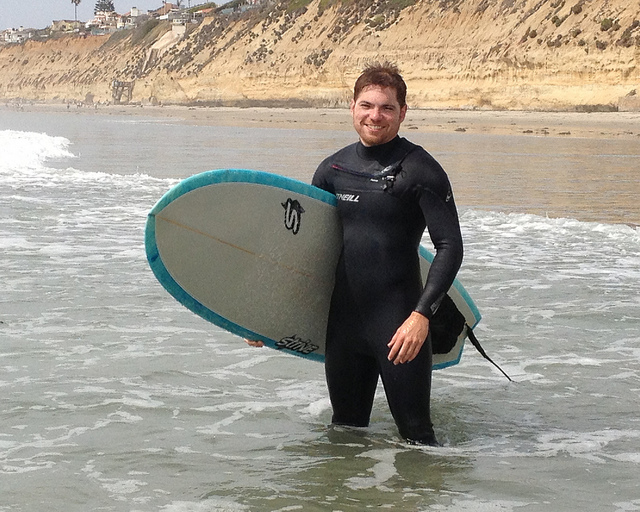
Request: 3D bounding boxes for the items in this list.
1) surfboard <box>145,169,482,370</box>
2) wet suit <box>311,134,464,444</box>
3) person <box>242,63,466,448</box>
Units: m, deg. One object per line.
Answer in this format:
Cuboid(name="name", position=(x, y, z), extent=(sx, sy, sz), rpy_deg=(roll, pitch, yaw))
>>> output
Cuboid(name="surfboard", position=(-0.475, -0.029, 7.521), extent=(0.343, 1.126, 3.103), rpy_deg=(28, -2, -28))
Cuboid(name="wet suit", position=(0.405, 0.242, 7.312), extent=(0.635, 2.046, 0.934), rpy_deg=(-13, 20, -38))
Cuboid(name="person", position=(0.425, 0.028, 7.225), extent=(0.646, 2.511, 0.921), rpy_deg=(-12, 19, -37))
